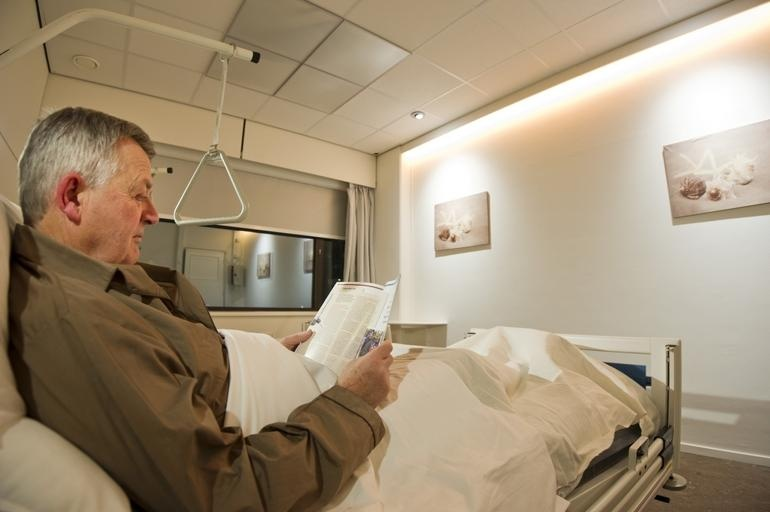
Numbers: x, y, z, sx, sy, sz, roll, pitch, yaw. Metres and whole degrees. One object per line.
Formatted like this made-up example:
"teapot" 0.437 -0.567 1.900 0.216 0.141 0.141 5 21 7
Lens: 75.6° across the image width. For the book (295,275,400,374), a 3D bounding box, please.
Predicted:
"book" -0.151 0.274 2.106 0.360 0.408 0.165 17 -21 34
